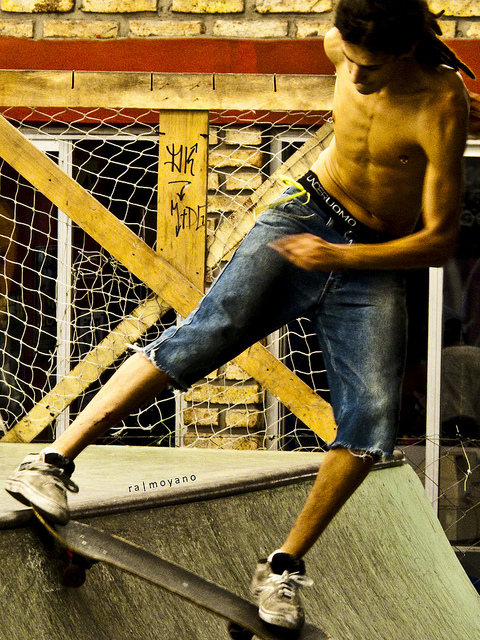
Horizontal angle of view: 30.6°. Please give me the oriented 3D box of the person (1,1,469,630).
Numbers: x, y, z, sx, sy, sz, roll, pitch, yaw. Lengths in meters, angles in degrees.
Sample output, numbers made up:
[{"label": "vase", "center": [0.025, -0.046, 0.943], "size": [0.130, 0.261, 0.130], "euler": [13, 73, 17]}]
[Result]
[{"label": "person", "center": [0.104, -0.053, 2.121], "size": [0.659, 1.392, 0.582], "euler": [15, 15, 27]}]

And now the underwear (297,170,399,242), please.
[{"label": "underwear", "center": [0.248, -0.298, 2.225], "size": [0.318, 0.168, 0.225], "euler": [-4, 13, -21]}]
